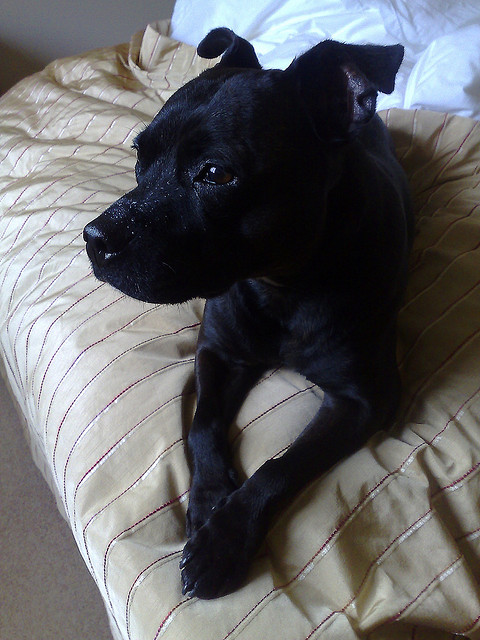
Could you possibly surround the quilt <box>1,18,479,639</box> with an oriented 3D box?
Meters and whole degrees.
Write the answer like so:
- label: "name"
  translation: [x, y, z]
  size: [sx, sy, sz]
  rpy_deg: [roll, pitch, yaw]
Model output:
- label: "quilt"
  translation: [0.144, 0.028, 1.696]
  size: [1.058, 0.438, 1.676]
  rpy_deg: [-7, 37, 15]
